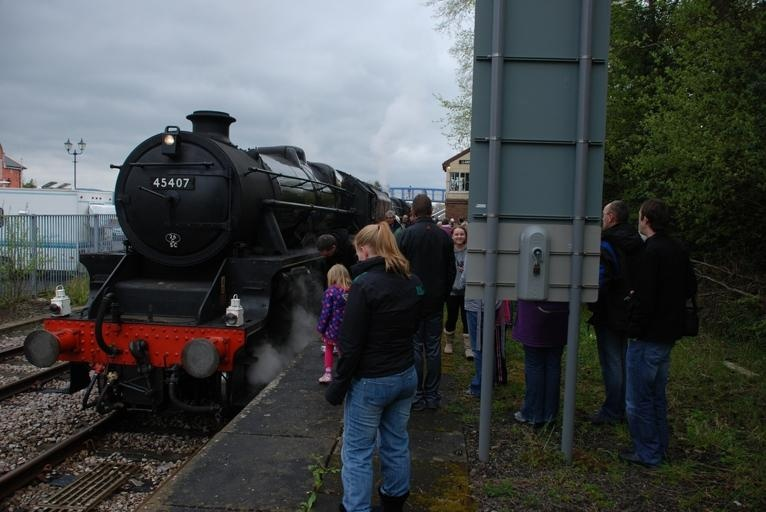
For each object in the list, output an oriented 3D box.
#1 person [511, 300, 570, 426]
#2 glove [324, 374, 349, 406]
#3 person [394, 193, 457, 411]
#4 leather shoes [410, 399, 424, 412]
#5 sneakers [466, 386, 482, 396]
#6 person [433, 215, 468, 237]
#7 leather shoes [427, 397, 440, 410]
[{"bbox_3d":[1.782,1.252,6.743,0.596,1.562,0.294,6,12,13],"label":"person"},{"bbox_3d":[-0.413,1.250,5.414,0.217,0.298,0.174,1,12,-12],"label":"glove"},{"bbox_3d":[0.440,0.612,7.646,0.915,2.782,0.960,-2,11,-18],"label":"person"},{"bbox_3d":[0.433,1.886,7.296,0.168,0.169,0.105,3,-6,3],"label":"leather shoes"},{"bbox_3d":[1.196,1.809,7.747,0.089,0.112,0.261,5,-1,-42],"label":"sneakers"},{"bbox_3d":[1.552,-0.673,13.136,1.046,0.443,1.047,1,0,11],"label":"person"},{"bbox_3d":[0.623,1.864,7.304,0.160,0.128,0.136,-5,-7,10],"label":"leather shoes"}]
